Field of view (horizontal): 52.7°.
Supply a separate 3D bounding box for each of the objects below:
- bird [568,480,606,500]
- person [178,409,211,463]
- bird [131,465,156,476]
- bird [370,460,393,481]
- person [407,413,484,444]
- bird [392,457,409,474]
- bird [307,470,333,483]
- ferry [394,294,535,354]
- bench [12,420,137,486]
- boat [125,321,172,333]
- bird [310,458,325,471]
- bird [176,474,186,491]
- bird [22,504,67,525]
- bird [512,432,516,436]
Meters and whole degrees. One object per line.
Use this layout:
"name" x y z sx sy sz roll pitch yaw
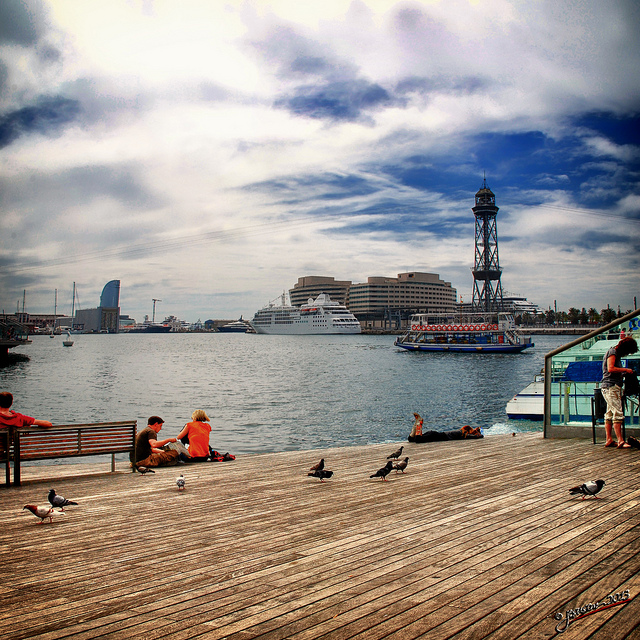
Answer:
"bird" 2.933 1.810 6.971 0.453 0.206 0.170 1 -8 32
"person" -2.088 1.877 10.572 0.513 0.840 0.426 -2 -3 -11
"bird" -2.722 2.247 9.773 0.220 0.059 0.156 13 3 42
"bird" 0.804 1.981 8.485 0.290 0.233 0.364 -2 -3 6
"person" 2.415 2.078 12.844 1.692 0.575 0.673 0 -3 -27
"bird" 1.095 1.978 8.801 0.183 0.253 0.583 -3 -3 8
"bird" -0.010 2.037 8.522 0.316 0.177 0.377 -2 -3 -2
"ferry" 17.776 0.881 82.223 17.584 5.893 5.316 0 -2 34
"bench" -3.457 1.851 9.185 1.787 0.847 0.467 0 -4 -42
"boat" -80.243 3.276 296.347 18.196 3.508 5.392 -2 6 -1
"bird" -0.044 1.932 8.651 0.167 0.157 0.426 -2 -3 -4
"bird" -1.851 2.087 8.403 0.097 0.136 0.275 2 0 -13
"bird" -2.948 2.036 6.880 0.354 0.247 0.370 -1 -3 -19
"bird" 3.923 2.289 13.029 0.022 0.054 0.064 3 9 -39
